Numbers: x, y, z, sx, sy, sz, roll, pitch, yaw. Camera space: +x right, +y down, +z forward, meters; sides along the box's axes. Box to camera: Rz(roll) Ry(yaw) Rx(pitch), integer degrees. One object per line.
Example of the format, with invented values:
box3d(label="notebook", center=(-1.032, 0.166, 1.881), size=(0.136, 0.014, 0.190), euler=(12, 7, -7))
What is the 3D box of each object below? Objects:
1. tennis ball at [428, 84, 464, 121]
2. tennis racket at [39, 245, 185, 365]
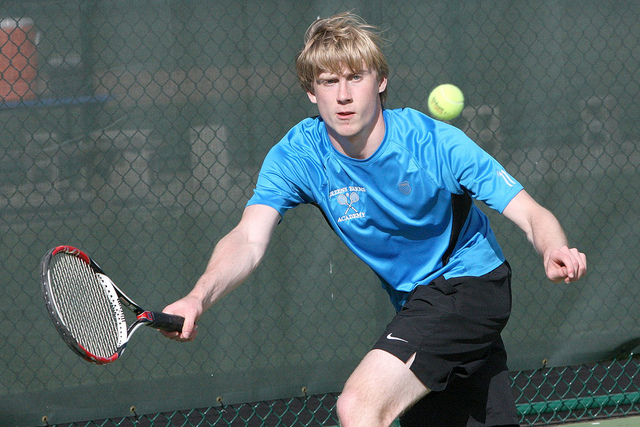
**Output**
box3d(label="tennis ball", center=(0.810, -0.718, 5.670), size=(0.208, 0.222, 0.201), euler=(3, -22, 1))
box3d(label="tennis racket", center=(-1.074, 0.440, 4.315), size=(0.566, 0.554, 0.424), euler=(-8, 14, -18))
